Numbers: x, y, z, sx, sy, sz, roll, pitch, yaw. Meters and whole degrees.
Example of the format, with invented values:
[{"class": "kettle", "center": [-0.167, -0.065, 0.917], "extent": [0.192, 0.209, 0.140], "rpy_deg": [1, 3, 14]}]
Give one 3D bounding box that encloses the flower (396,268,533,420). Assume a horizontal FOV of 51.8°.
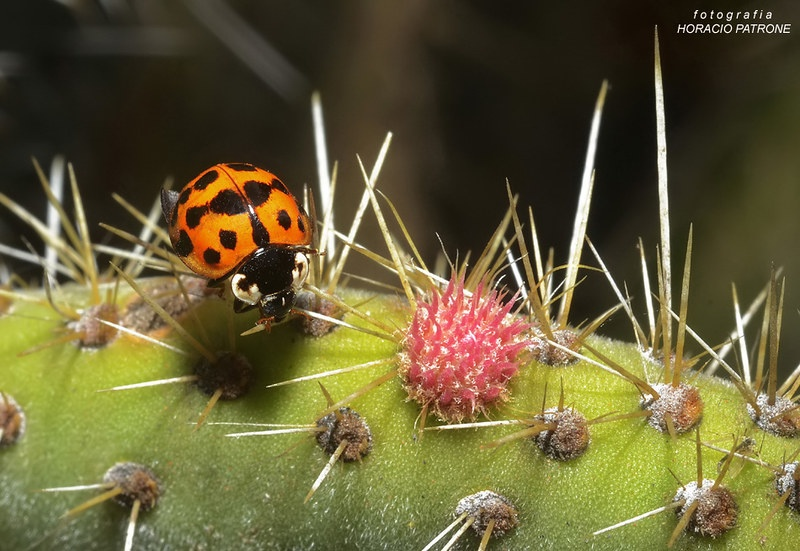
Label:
[{"class": "flower", "center": [0.221, 0.236, 2.811], "extent": [0.466, 0.427, 0.322], "rpy_deg": [-5, 28, -3]}]
